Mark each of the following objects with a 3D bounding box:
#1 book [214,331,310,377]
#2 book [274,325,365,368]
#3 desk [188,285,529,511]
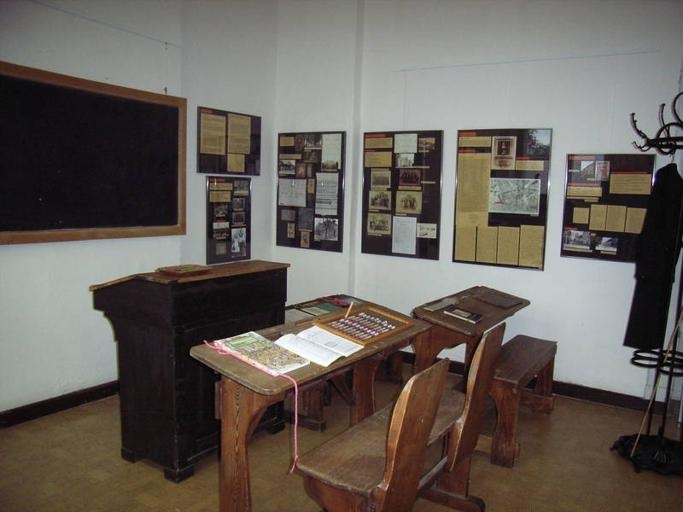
[{"bbox_3d":[-0.489,0.590,3.196,0.438,0.056,0.259,15,17,38],"label":"book"},{"bbox_3d":[-0.148,0.562,3.284,0.276,0.041,0.278,16,21,41],"label":"book"},{"bbox_3d":[0.270,0.902,4.290,3.173,1.206,1.293,-4,8,-41],"label":"desk"}]
